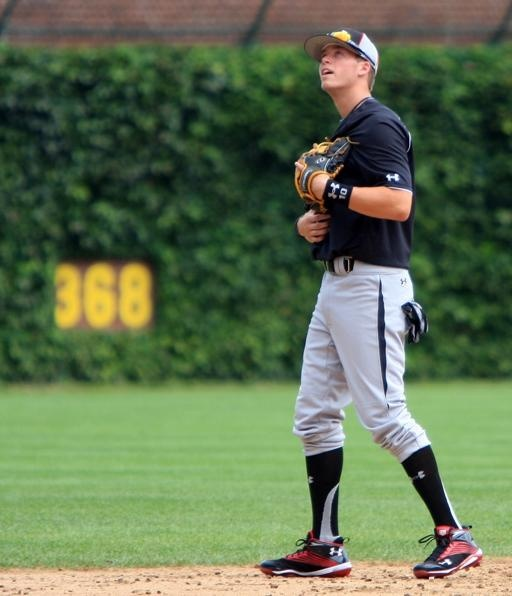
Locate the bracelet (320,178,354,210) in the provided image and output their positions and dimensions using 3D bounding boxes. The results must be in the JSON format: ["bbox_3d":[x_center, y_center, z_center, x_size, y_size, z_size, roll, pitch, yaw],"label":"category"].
[{"bbox_3d":[0.508,-0.649,8.885,0.157,0.193,0.159,14,-5,-4],"label":"bracelet"}]

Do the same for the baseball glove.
[{"bbox_3d":[0.468,-0.779,8.946,0.187,0.456,0.393,6,-35,-46],"label":"baseball glove"}]

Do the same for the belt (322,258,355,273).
[{"bbox_3d":[0.527,-0.195,8.920,0.134,0.087,0.145,0,6,31],"label":"belt"}]

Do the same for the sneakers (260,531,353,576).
[{"bbox_3d":[0.306,1.682,9.029,0.614,0.256,0.195,-1,-9,1],"label":"sneakers"}]

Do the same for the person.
[{"bbox_3d":[0.680,0.259,8.948,1.194,3.053,0.676,1,7,8],"label":"person"}]
